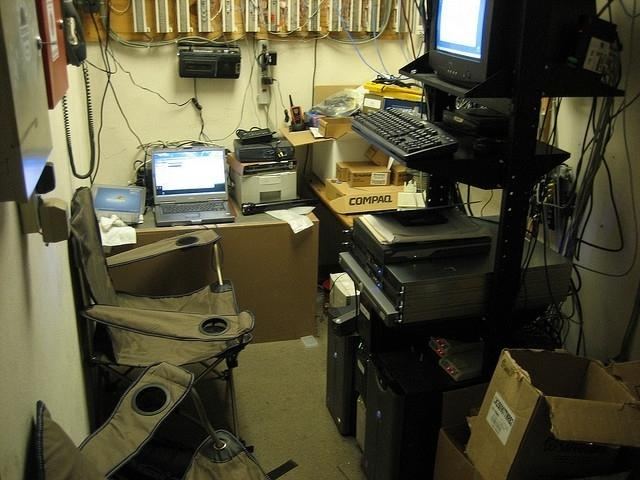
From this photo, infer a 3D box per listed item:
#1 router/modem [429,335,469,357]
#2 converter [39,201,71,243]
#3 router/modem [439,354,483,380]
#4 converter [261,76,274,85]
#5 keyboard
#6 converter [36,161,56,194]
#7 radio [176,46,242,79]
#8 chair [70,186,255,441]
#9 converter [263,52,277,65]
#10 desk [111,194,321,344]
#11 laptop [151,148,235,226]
[{"bbox_3d":[0.565,0.473,2.433,0.100,0.030,0.107,-6,22,-9],"label":"router/modem"},{"bbox_3d":[-0.924,-0.067,1.877,0.100,0.153,0.150,-14,22,-26],"label":"converter"},{"bbox_3d":[0.620,0.547,2.333,0.109,0.026,0.106,-4,21,-10],"label":"router/modem"},{"bbox_3d":[-0.394,-1.184,4.038,0.069,0.044,0.070,5,12,18],"label":"converter"},{"bbox_3d":[0.328,-0.439,2.227,0.260,0.132,0.564,-8,20,-13],"label":"keyboard"},{"bbox_3d":[-0.916,-0.192,1.805,0.055,0.086,0.048,-2,4,-36],"label":"converter"},{"bbox_3d":[-0.834,-1.298,3.942,0.466,0.223,0.359,-8,24,-27],"label":"radio"},{"bbox_3d":[-0.711,0.350,2.872,0.988,1.271,0.916,-6,22,-19],"label":"chair"},{"bbox_3d":[-0.373,-1.335,3.971,0.084,0.117,0.158,2,10,2],"label":"converter"},{"bbox_3d":[-0.592,0.227,3.649,1.464,0.993,0.797,-1,5,-17],"label":"desk"},{"bbox_3d":[-0.825,-0.356,3.419,0.543,0.499,0.379,-3,25,-15],"label":"laptop"}]
